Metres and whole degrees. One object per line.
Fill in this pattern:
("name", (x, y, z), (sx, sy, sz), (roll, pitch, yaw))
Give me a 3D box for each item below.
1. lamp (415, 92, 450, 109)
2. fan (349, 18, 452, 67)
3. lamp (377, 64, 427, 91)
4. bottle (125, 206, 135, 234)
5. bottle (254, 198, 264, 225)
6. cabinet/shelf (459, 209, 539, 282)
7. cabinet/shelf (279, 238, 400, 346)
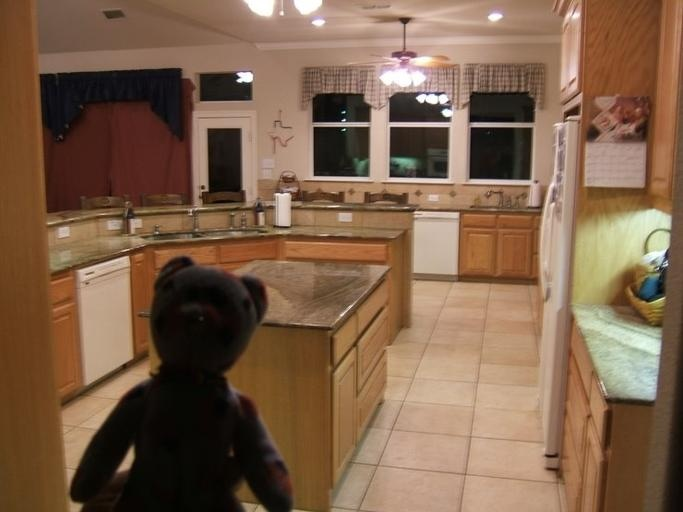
("lamp", (1.357, -2.328, 7.922), (0.511, 0.207, 0.099), (5, 11, 22))
("fan", (0.693, -2.379, 5.840), (1.189, 0.528, 1.137), (-15, 29, -32))
("lamp", (0.746, -2.199, 6.483), (0.749, 0.205, 0.740), (-9, 16, -40))
("bottle", (-1.902, -0.347, 4.748), (0.092, 0.263, 0.175), (-3, 11, -22))
("bottle", (-0.833, -0.442, 5.360), (0.108, 0.272, 0.149), (-1, 10, -9))
("cabinet/shelf", (2.168, -0.189, 7.211), (0.896, 0.827, 0.352), (2, 7, 14))
("cabinet/shelf", (0.086, 0.320, 5.193), (1.246, 1.236, 0.856), (0, 2, 11))
